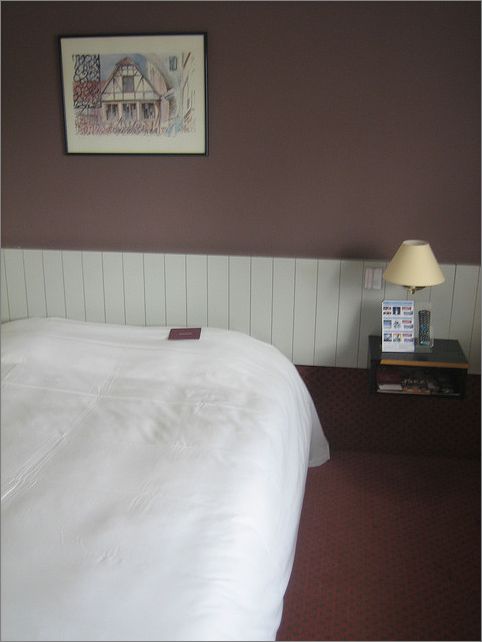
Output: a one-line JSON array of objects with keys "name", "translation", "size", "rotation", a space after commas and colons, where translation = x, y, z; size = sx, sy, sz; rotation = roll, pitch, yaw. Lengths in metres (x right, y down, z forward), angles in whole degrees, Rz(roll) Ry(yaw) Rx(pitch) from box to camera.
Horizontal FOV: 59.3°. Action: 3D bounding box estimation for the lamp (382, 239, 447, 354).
[{"name": "lamp", "translation": [0.833, -0.115, 2.070], "size": [0.263, 0.561, 0.352], "rotation": [7, 9, 23]}]
